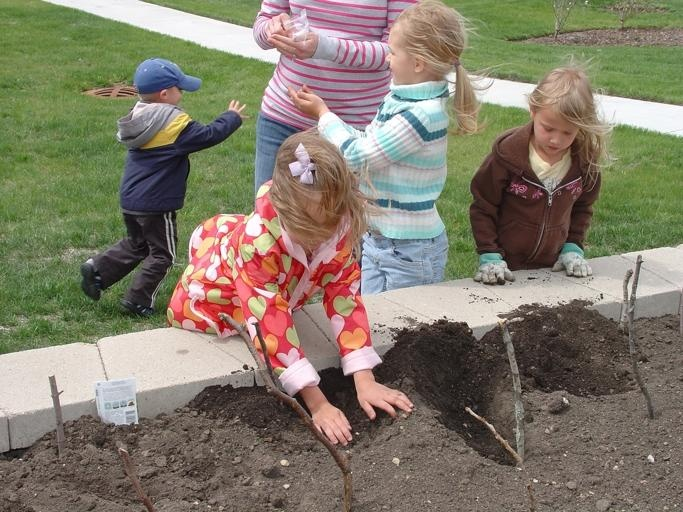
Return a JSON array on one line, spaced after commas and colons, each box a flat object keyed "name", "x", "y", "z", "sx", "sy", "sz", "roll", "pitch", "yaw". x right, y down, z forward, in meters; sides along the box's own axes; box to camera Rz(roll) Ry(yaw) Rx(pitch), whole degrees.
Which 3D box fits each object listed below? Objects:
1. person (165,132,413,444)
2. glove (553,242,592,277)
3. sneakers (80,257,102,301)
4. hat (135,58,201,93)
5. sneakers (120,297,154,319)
[{"name": "person", "x": -0.221, "y": -0.088, "z": 4.989, "sx": 1.037, "sy": 1.308, "sz": 1.954, "roll": -15, "pitch": 35, "yaw": -28}, {"name": "glove", "x": 1.596, "y": 0.034, "z": 5.894, "sx": 0.186, "sy": 0.078, "sz": 0.258, "roll": -13, "pitch": 28, "yaw": 18}, {"name": "sneakers", "x": -1.803, "y": 0.161, "z": 6.188, "sx": 0.118, "sy": 0.309, "sz": 0.142, "roll": -9, "pitch": 6, "yaw": -18}, {"name": "hat", "x": -1.294, "y": -1.337, "z": 6.350, "sx": 0.426, "sy": 0.218, "sz": 0.263, "roll": -13, "pitch": 38, "yaw": -19}, {"name": "sneakers", "x": -1.470, "y": 0.379, "z": 6.126, "sx": 0.265, "sy": 0.119, "sz": 0.093, "roll": 5, "pitch": 48, "yaw": -32}]
